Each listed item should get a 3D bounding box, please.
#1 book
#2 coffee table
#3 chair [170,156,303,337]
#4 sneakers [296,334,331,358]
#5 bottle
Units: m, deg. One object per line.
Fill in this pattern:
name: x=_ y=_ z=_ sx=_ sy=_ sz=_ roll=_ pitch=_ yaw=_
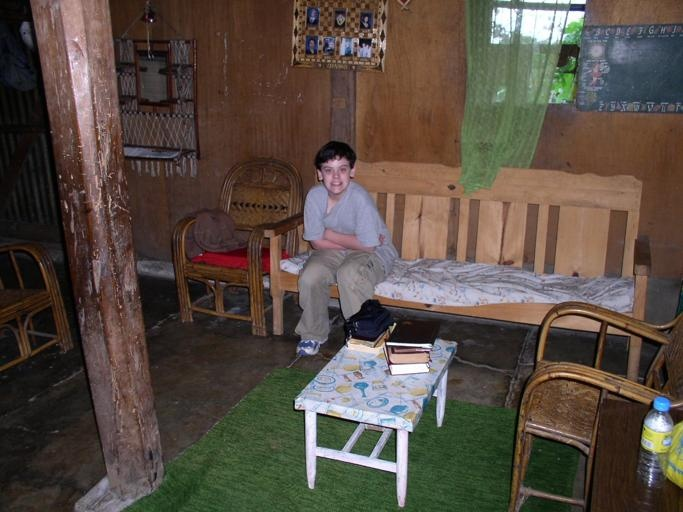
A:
book: x=0.331 y=0.470 z=2.819 sx=0.343 sy=0.084 sz=0.346 roll=2 pitch=20 yaw=-9
coffee table: x=0.160 y=0.995 z=2.735 sx=0.647 sy=0.508 sz=1.001 roll=4 pitch=18 yaw=16
chair: x=-0.855 y=-0.116 z=4.378 sx=0.881 sy=1.301 sz=0.973 roll=4 pitch=16 yaw=11
sneakers: x=-0.241 y=0.677 z=3.830 sx=0.102 sy=0.109 sz=0.242 roll=-2 pitch=-13 yaw=18
bottle: x=1.072 y=0.628 z=1.746 sx=0.092 sy=0.252 sz=0.184 roll=12 pitch=20 yaw=33
